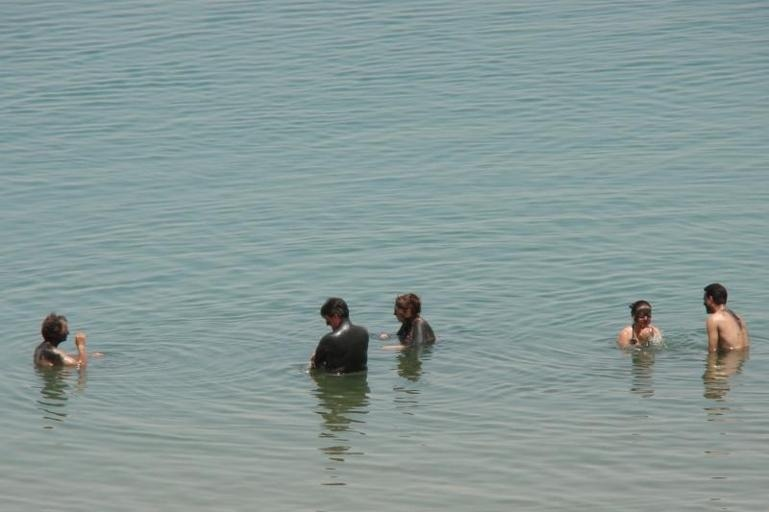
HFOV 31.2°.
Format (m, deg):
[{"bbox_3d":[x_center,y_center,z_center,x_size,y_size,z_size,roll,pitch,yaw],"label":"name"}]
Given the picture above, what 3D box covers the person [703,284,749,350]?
[{"bbox_3d":[8.655,1.582,35.000,1.029,1.697,0.943,-5,28,11],"label":"person"}]
